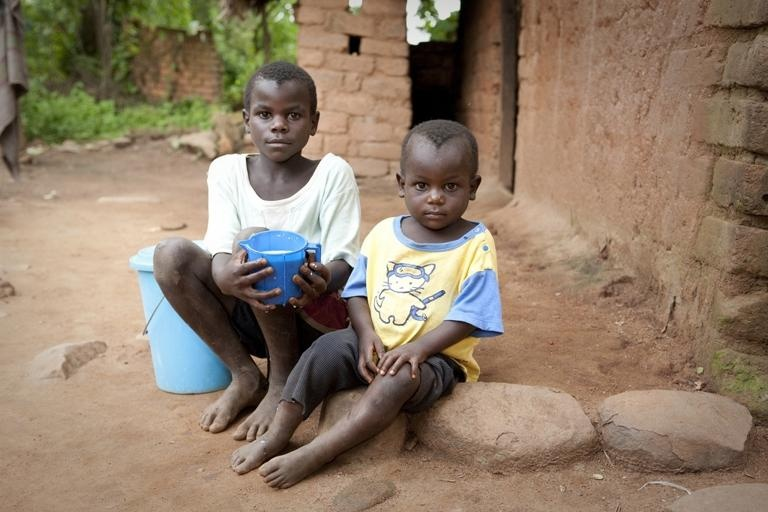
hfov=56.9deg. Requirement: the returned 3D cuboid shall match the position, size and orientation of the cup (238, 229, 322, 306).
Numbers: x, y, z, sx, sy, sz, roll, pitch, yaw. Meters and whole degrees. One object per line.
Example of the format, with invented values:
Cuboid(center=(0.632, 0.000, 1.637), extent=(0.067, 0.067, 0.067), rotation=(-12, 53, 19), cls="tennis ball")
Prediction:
Cuboid(center=(-0.541, 0.053, 3.795), extent=(0.387, 0.288, 0.305), rotation=(0, 23, -7), cls="cup")
